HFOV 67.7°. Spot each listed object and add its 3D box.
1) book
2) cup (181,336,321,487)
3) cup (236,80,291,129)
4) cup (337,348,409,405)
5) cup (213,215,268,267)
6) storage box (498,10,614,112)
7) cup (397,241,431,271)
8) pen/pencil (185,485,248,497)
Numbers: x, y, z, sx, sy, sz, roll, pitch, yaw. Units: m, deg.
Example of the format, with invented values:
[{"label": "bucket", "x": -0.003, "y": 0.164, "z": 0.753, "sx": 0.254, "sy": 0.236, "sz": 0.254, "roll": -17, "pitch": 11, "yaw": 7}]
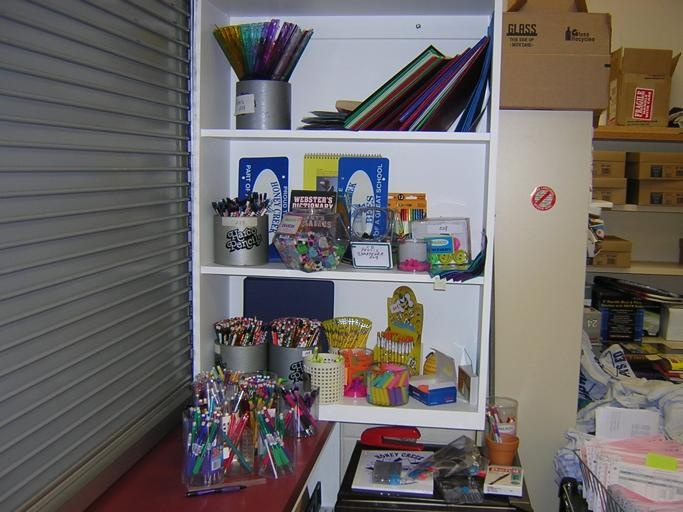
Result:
[{"label": "book", "x": 0.199, "y": -0.564, "z": 1.725, "sx": 0.589, "sy": 0.294, "sz": 0.180, "roll": 0, "pitch": 7, "yaw": 4}, {"label": "cup", "x": -0.261, "y": 0.381, "z": 1.440, "sx": 0.396, "sy": 0.296, "sz": 0.239, "roll": 0, "pitch": 2, "yaw": -37}, {"label": "cup", "x": -0.271, "y": -0.523, "z": 1.827, "sx": 0.170, "sy": 0.136, "sz": 0.177, "roll": 1, "pitch": 4, "yaw": 0}, {"label": "cup", "x": 0.119, "y": 0.435, "z": 1.816, "sx": 0.230, "sy": 0.151, "sz": 0.134, "roll": 0, "pitch": 0, "yaw": 21}, {"label": "cup", "x": -0.342, "y": -0.052, "z": 1.824, "sx": 0.173, "sy": 0.148, "sz": 0.173, "roll": 0, "pitch": 0, "yaw": 0}, {"label": "storage box", "x": 0.838, "y": -0.726, "z": 2.051, "sx": 0.374, "sy": 0.313, "sz": 0.401, "roll": 1, "pitch": 7, "yaw": 5}, {"label": "cup", "x": 0.247, "y": -0.003, "z": 1.743, "sx": 0.097, "sy": 0.110, "sz": 0.100, "roll": 1, "pitch": 2, "yaw": 0}, {"label": "pen/pencil", "x": -0.325, "y": 0.618, "z": 1.332, "sx": 0.148, "sy": 0.016, "sz": 0.015, "roll": -2, "pitch": 7, "yaw": -9}]
